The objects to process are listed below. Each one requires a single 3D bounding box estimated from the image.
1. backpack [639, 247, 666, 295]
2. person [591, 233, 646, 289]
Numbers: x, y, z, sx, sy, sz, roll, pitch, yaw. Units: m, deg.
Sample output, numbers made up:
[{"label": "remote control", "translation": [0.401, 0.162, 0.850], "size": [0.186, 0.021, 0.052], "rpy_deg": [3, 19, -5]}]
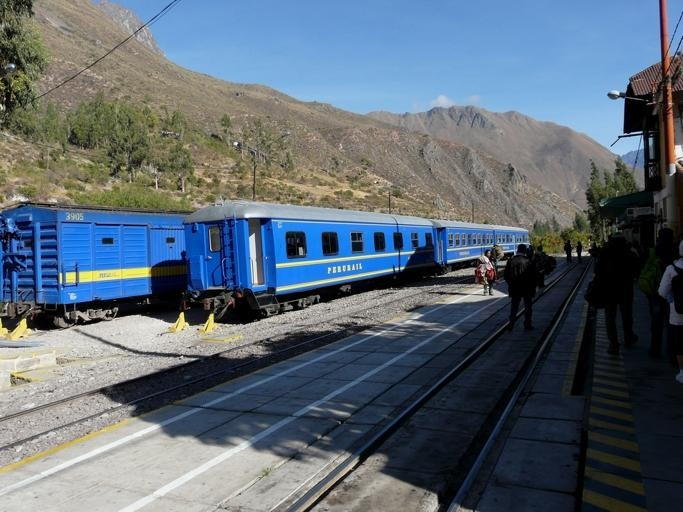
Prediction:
[{"label": "backpack", "translation": [5.907, 0.330, 8.950], "size": [0.423, 0.806, 0.197], "rpy_deg": [3, -2, 27]}, {"label": "person", "translation": [5.695, 0.240, 9.818], "size": [0.754, 1.401, 0.554], "rpy_deg": [6, 2, 0]}]
